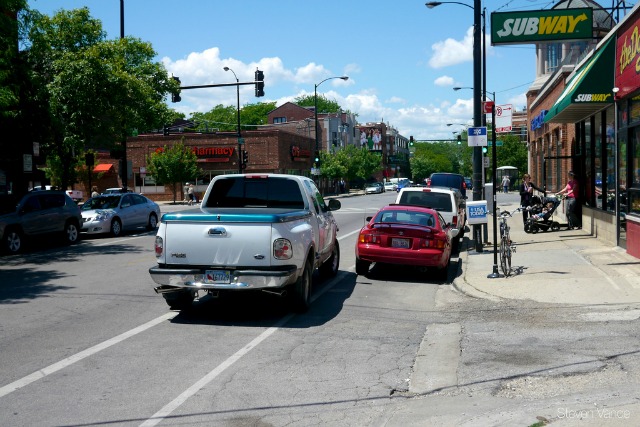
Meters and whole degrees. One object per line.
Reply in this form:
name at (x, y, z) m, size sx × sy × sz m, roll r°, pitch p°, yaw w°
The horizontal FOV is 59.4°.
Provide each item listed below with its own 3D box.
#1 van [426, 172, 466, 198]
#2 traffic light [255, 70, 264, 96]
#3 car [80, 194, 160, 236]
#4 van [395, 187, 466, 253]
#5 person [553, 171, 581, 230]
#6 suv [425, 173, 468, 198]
van at (6.930, -1.448, 30.631) m, size 1.575 × 1.532 × 2.725 m, roll 1°, pitch 4°, yaw 16°
traffic light at (-2.835, -5.989, 25.908) m, size 0.340 × 1.153 × 0.468 m, roll -3°, pitch 8°, yaw -14°
car at (-8.641, 0.114, 24.043) m, size 2.357 × 1.872 × 5.124 m, roll 0°, pitch -1°, yaw 11°
van at (4.000, 0.029, 18.790) m, size 2.136 × 1.780 × 5.237 m, roll 0°, pitch 0°, yaw 18°
person at (9.246, -0.495, 20.836) m, size 0.942 × 2.211 × 0.744 m, roll 0°, pitch 1°, yaw 1°
suv at (6.949, -1.428, 30.672) m, size 1.568 × 1.535 × 2.743 m, roll 1°, pitch 5°, yaw 16°
